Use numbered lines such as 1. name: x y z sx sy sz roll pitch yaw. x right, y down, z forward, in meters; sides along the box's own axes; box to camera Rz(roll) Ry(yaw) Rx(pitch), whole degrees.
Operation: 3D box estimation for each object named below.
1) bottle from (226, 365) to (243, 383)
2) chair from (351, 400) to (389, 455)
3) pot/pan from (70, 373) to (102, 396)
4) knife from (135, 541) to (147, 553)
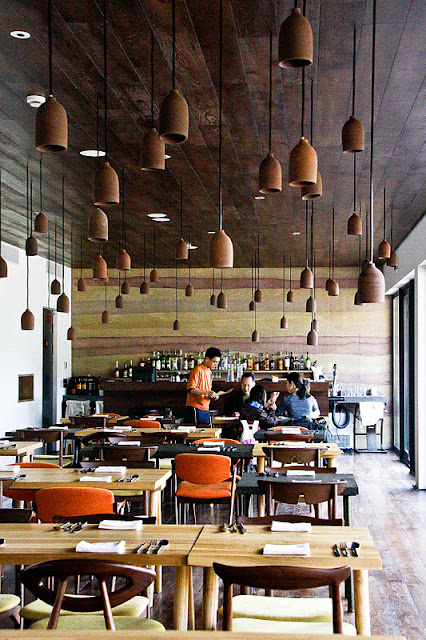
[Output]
1. bottle: 0.365 0.965 10.486 0.248 0.442 0.251 3 -2 0
2. chair: 2.587 1.868 10.560 1.010 1.052 0.548 1 -6 3
3. pot/pan: -2.491 1.254 11.453 0.716 0.443 0.487 4 -1 6
4. knife: -0.259 0.811 2.083 0.013 0.017 0.044 14 29 14
